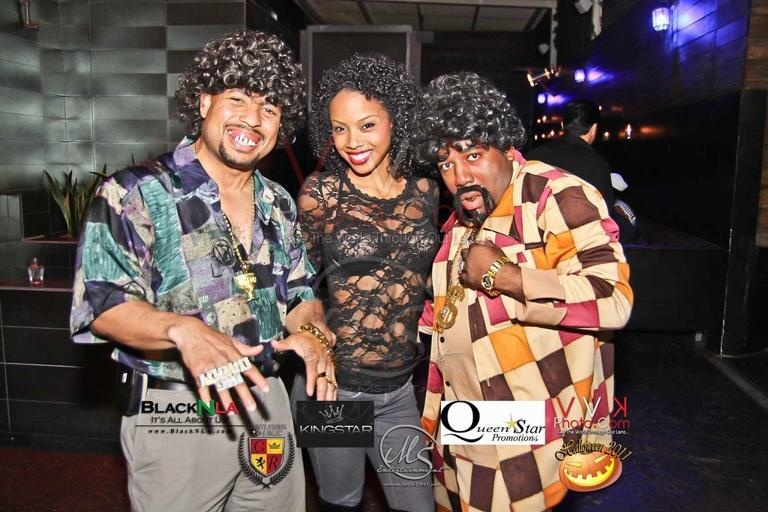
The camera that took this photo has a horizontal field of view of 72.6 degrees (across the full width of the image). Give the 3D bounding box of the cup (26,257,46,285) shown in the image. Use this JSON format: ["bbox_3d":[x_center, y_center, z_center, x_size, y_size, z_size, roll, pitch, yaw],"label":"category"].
[{"bbox_3d":[-2.603,0.118,3.898,0.104,0.176,0.209,-12,17,-35],"label":"cup"}]

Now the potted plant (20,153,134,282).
[{"bbox_3d":[-2.279,-0.280,3.710,0.631,1.227,0.511,11,21,9],"label":"potted plant"}]

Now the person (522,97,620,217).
[{"bbox_3d":[1.571,-0.861,4.640,0.822,1.276,0.796,8,16,14],"label":"person"}]

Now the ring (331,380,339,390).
[{"bbox_3d":[-0.215,0.542,2.218,0.043,0.017,0.059,-4,26,-11],"label":"ring"}]
